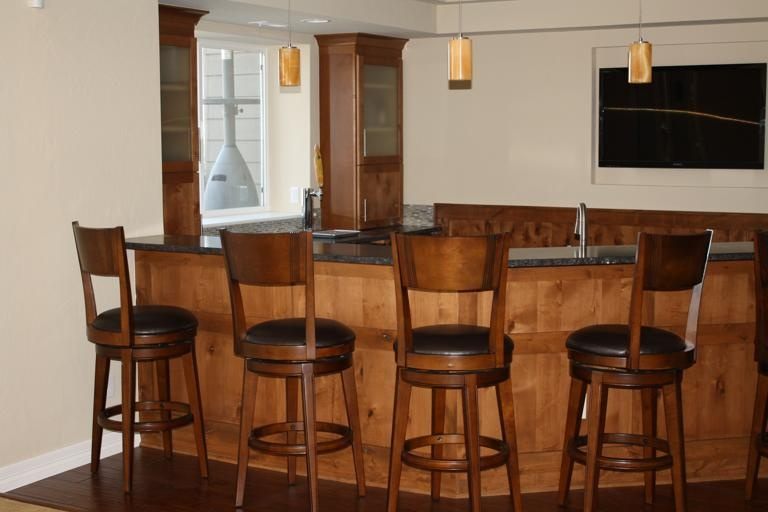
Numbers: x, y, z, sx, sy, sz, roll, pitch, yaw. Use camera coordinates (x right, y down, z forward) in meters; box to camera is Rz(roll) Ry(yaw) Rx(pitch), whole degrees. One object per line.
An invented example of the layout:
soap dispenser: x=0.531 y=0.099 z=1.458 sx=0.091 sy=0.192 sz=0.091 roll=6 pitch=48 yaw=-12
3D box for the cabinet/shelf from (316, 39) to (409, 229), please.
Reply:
cabinet/shelf: x=-0.259 y=-1.190 z=6.736 sx=0.539 sy=1.846 sz=0.918 roll=2 pitch=12 yaw=26

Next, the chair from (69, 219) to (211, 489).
chair: x=-1.408 y=0.534 z=3.957 sx=0.717 sy=1.494 sz=0.627 roll=-2 pitch=11 yaw=6

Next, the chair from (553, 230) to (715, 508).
chair: x=1.230 y=0.590 z=3.477 sx=0.716 sy=1.481 sz=0.532 roll=-3 pitch=11 yaw=4

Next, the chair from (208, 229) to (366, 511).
chair: x=-0.489 y=0.585 z=3.580 sx=0.686 sy=1.503 sz=0.553 roll=0 pitch=11 yaw=17

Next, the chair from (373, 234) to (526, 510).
chair: x=0.311 y=0.602 z=3.350 sx=0.640 sy=1.478 sz=0.487 roll=-2 pitch=11 yaw=9

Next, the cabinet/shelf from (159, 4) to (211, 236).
cabinet/shelf: x=-1.495 y=-0.991 z=5.139 sx=0.160 sy=1.667 sz=0.537 roll=3 pitch=13 yaw=32
